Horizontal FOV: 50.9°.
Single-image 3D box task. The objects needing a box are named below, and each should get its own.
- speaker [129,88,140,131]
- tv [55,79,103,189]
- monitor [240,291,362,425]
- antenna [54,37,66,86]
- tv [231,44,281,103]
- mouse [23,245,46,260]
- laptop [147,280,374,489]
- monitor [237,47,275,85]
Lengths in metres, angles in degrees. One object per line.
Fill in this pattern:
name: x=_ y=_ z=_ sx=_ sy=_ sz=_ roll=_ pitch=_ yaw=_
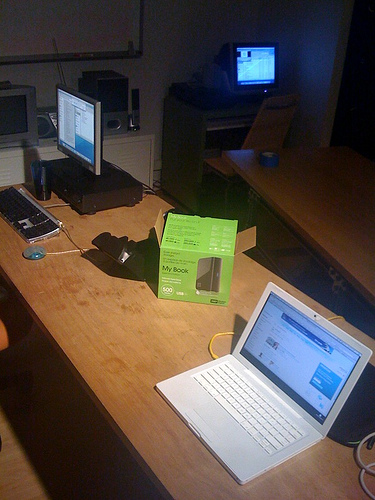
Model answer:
speaker: x=-0.466 y=-1.236 z=3.480 sx=0.084 sy=0.339 sz=0.156 roll=3 pitch=23 yaw=-5
tv: x=-0.531 y=-0.560 z=1.953 sx=0.144 sy=0.430 sz=0.575 roll=-8 pitch=27 yaw=-30
monitor: x=0.261 y=0.297 z=0.994 sx=0.299 sy=0.184 sz=0.209 roll=40 pitch=23 yaw=26
antenna: x=-1.057 y=-1.565 z=3.271 sx=0.078 sy=0.348 sz=0.249 roll=-2 pitch=24 yaw=-16
tv: x=0.684 y=-1.819 z=3.988 sx=0.471 sy=0.470 sz=0.262 roll=-1 pitch=10 yaw=2
mouse: x=-0.582 y=0.008 z=1.497 sx=0.055 sy=0.011 sz=0.057 roll=2 pitch=29 yaw=-9
laptop: x=0.146 y=0.256 z=0.873 sx=0.320 sy=0.240 sz=0.374 roll=-12 pitch=29 yaw=-34
monitor: x=0.682 y=-1.828 z=3.900 sx=0.553 sy=0.366 sz=0.117 roll=-17 pitch=31 yaw=-40
